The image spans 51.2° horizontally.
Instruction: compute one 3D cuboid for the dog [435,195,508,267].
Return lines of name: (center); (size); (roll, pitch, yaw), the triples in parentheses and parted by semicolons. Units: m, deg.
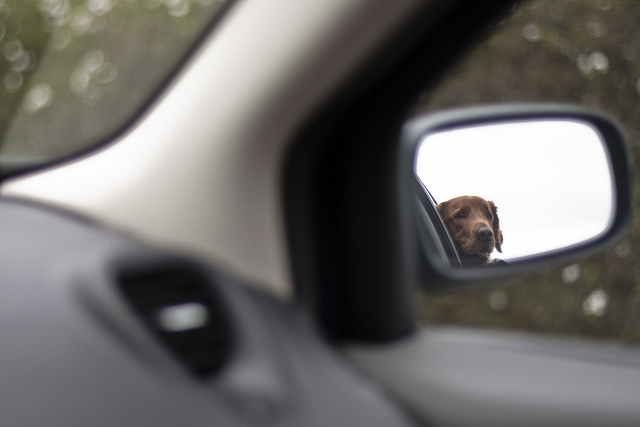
dog: (0.384, 0.047, 1.679); (0.199, 0.251, 0.166); (-4, 78, 2)
